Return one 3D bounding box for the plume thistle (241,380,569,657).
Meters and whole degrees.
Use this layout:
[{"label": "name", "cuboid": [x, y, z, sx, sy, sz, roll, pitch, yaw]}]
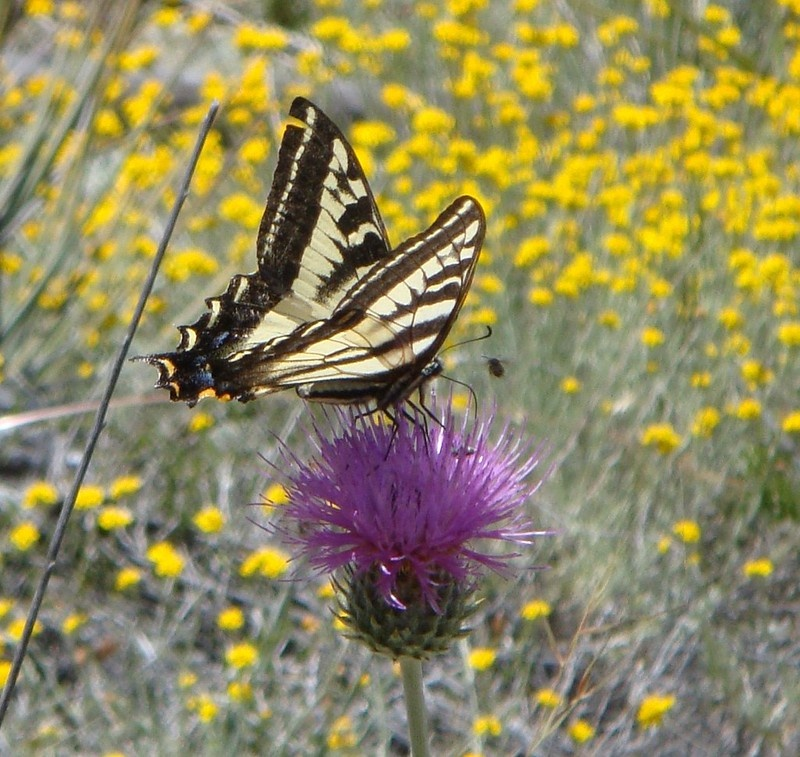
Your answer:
[{"label": "plume thistle", "cuboid": [-0.107, 0.521, 4.813, 0.855, 0.903, 0.805, -7, 61, -32]}]
